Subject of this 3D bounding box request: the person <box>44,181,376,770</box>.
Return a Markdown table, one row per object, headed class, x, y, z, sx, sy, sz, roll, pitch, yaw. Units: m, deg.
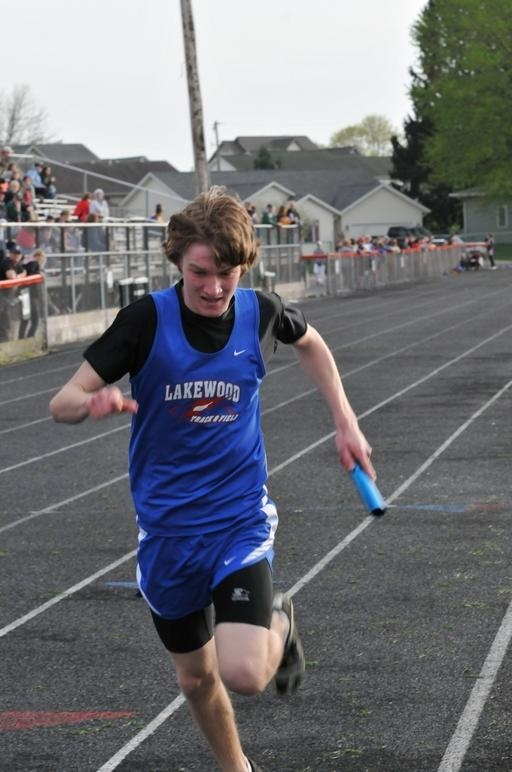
| class | x | y | z | sx | sy | sz | roll | pitch | yaw |
| --- | --- | --- | --- | --- | --- | --- | --- | --- | --- |
| person | -0.065 | 0.270 | 2.009 | 0.445 | 1.534 | 0.751 | 1 | 8 | 26 |
